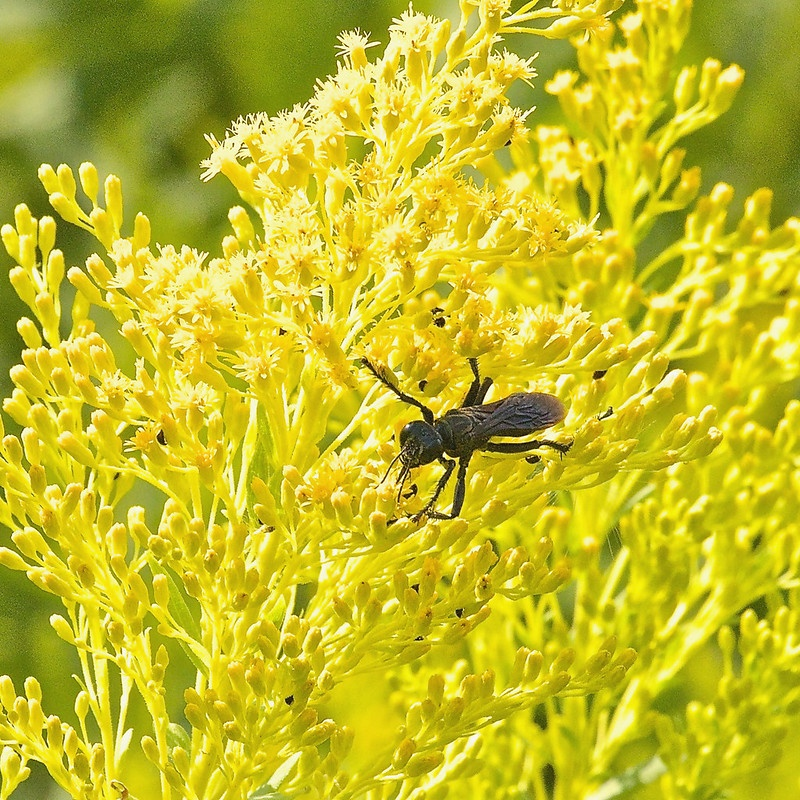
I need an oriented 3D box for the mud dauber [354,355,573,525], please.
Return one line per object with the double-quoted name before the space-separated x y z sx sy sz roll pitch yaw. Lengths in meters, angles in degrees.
"mud dauber" 0.109 0.052 1.772 0.231 0.077 0.174 -19 19 9
